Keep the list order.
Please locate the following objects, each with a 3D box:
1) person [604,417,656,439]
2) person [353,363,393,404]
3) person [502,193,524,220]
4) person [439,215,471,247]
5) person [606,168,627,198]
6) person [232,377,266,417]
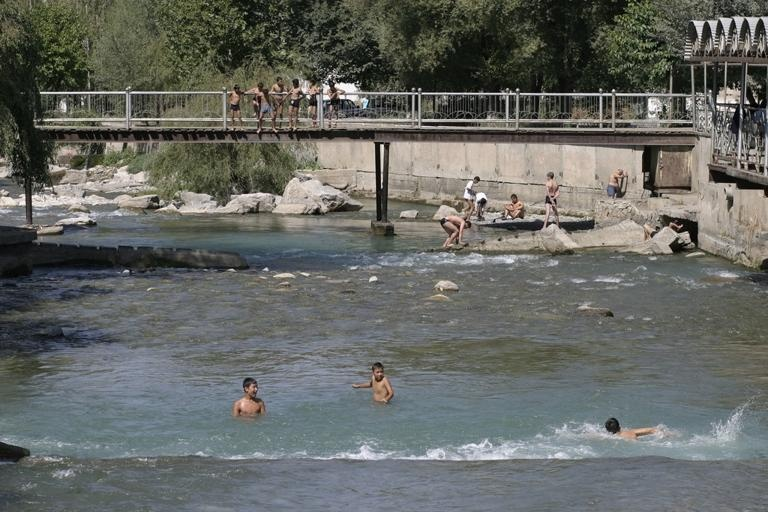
[{"bbox_3d":[5.710,4.152,30.545,0.752,0.281,0.598,-10,-2,19],"label":"person"},{"bbox_3d":[-0.282,3.259,32.381,0.911,1.678,0.562,-1,-10,20],"label":"person"},{"bbox_3d":[5.429,-2.054,54.517,0.995,1.348,1.048,2,3,8],"label":"person"},{"bbox_3d":[2.664,-0.953,47.738,1.143,1.206,1.137,-8,12,-14],"label":"person"},{"bbox_3d":[9.192,-2.913,52.170,0.730,1.133,1.414,1,8,27],"label":"person"},{"bbox_3d":[-3.266,3.508,31.560,0.903,0.876,0.538,-3,1,-32],"label":"person"}]
